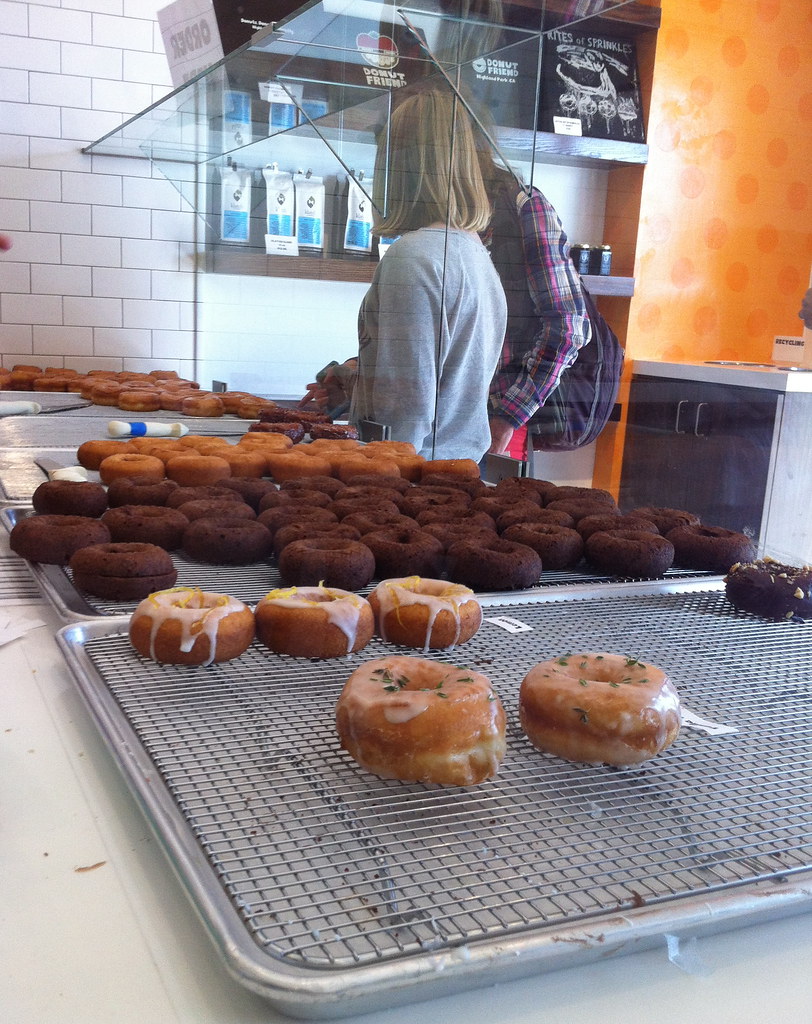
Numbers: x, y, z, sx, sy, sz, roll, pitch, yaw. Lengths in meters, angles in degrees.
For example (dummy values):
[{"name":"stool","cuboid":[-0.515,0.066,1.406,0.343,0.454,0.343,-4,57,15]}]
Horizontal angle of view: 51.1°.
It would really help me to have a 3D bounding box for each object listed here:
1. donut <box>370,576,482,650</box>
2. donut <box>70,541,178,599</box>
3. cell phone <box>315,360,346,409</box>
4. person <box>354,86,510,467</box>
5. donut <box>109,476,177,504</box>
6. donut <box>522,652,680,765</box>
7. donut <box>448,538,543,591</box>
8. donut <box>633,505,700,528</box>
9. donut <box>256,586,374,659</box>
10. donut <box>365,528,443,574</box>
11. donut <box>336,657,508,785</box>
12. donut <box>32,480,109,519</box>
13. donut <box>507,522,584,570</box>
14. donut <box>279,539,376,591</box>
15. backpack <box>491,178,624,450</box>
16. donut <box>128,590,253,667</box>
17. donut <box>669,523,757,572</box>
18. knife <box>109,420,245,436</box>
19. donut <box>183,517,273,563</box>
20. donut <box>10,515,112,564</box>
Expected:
[{"name":"donut","cuboid":[0.018,0.098,0.834,0.106,0.049,0.087,14,18,38]},{"name":"donut","cuboid":[-0.299,0.067,0.911,0.104,0.047,0.057,-2,15,-18]},{"name":"cell phone","cuboid":[-0.215,-0.358,2.447,0.049,0.123,0.129,1,-21,-33]},{"name":"person","cuboid":[0.073,-0.528,1.989,0.337,0.827,0.170,4,16,3]},{"name":"donut","cuboid":[-0.383,-0.025,1.242,0.093,0.035,0.118,2,13,-1]},{"name":"donut","cuboid":[0.149,0.145,0.646,0.122,0.054,0.116,-4,9,-7]},{"name":"donut","cuboid":[0.102,0.050,0.990,0.082,0.026,0.070,2,10,-1]},{"name":"donut","cuboid":[0.374,0.005,1.245,0.057,0.016,0.051,-1,12,1]},{"name":"donut","cuboid":[-0.082,0.100,0.793,0.094,0.048,0.095,8,15,21]},{"name":"donut","cuboid":[-0.007,0.050,1.047,0.097,0.048,0.127,-1,14,-13]},{"name":"donut","cuboid":[0.012,0.145,0.612,0.121,0.054,0.123,-9,15,-35]},{"name":"donut","cuboid":[-0.462,-0.025,1.189,0.070,0.022,0.067,2,9,-42]},{"name":"donut","cuboid":[0.186,0.042,1.094,0.080,0.024,0.072,1,10,-3]},{"name":"donut","cuboid":[-0.088,0.050,0.954,0.081,0.034,0.072,1,4,-1]},{"name":"backpack","cuboid":[0.440,-0.468,2.140,0.264,0.591,0.490,-13,18,15]},{"name":"donut","cuboid":[-0.184,0.098,0.755,0.097,0.049,0.113,5,14,10]},{"name":"donut","cuboid":[0.409,0.048,1.153,0.112,0.048,0.125,10,15,26]},{"name":"knife","cuboid":[-0.557,-0.205,2.081,0.363,0.051,0.068,-4,18,-37]},{"name":"donut","cuboid":[-0.225,0.039,1.074,0.092,0.050,0.085,13,17,37]},{"name":"donut","cuboid":[-0.411,0.018,1.027,0.086,0.026,0.077,6,10,5]}]
